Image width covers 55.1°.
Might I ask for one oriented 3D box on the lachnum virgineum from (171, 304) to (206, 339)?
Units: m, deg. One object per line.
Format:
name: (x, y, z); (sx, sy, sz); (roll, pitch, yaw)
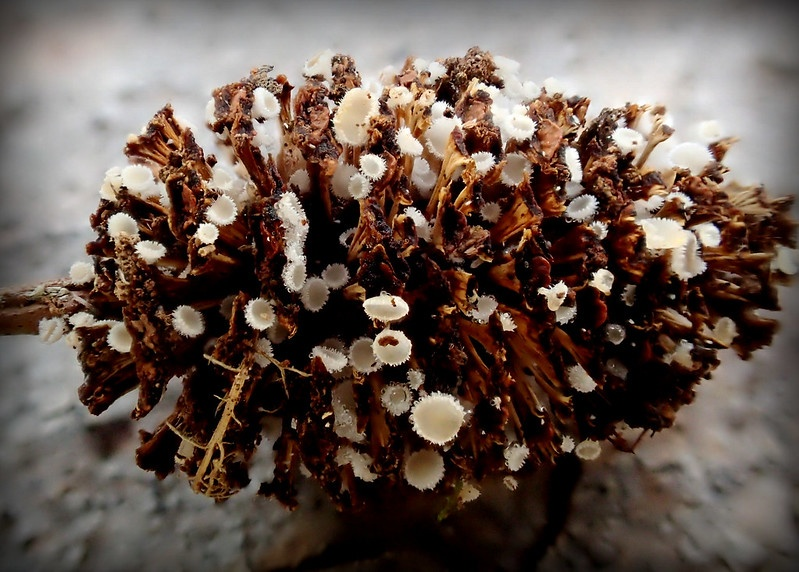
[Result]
lachnum virgineum: (-0.562, 0.099, 2.043); (0.078, 0.070, 0.072); (-11, 59, -6)

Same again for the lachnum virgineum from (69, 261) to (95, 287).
lachnum virgineum: (-0.900, -0.030, 2.167); (0.069, 0.026, 0.071); (-3, 87, -5)

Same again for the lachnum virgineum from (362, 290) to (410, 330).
lachnum virgineum: (-0.035, 0.060, 1.965); (0.090, 0.090, 0.056); (-2, 101, -8)

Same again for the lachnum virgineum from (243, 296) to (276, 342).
lachnum virgineum: (-0.364, 0.076, 1.995); (0.082, 0.030, 0.082); (-36, 98, -25)

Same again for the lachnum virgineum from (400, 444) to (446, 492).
lachnum virgineum: (0.068, 0.508, 2.114); (0.114, 0.059, 0.095); (1, 59, 1)

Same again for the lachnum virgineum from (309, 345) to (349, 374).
lachnum virgineum: (-0.188, 0.188, 2.044); (0.090, 0.051, 0.070); (40, 67, 21)

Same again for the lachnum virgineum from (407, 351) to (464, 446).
lachnum virgineum: (0.099, 0.342, 2.017); (0.132, 0.038, 0.130); (33, 64, 19)
